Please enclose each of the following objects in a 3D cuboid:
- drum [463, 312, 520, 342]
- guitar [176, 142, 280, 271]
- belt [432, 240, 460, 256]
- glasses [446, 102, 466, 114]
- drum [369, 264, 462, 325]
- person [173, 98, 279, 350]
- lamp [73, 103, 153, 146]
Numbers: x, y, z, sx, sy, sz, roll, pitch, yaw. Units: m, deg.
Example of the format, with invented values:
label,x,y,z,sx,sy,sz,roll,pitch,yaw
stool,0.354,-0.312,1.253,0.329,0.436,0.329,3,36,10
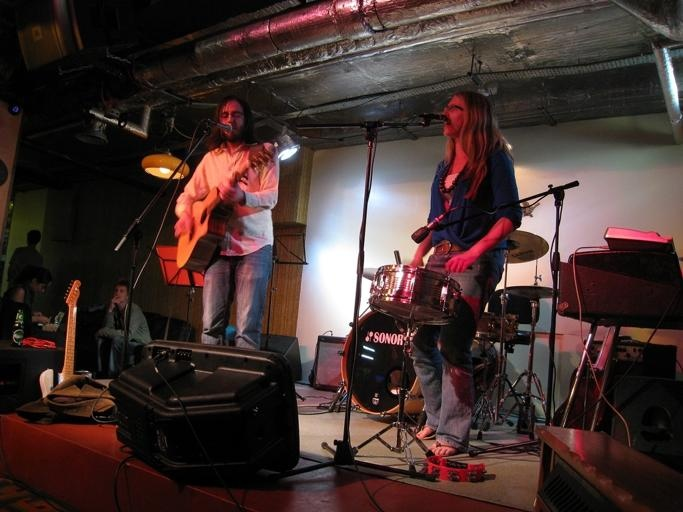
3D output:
label,x,y,z,sx,sy,sz,roll,pitch,yaw
drum,1.428,0.646,4.689,0.427,0.207,0.547,1,-5,6
guitar,-0.783,-0.301,3.530,0.218,0.534,1.050,5,-35,-38
belt,0.634,-0.049,3.181,0.103,0.035,0.098,-18,-7,39
glasses,0.716,-0.940,3.285,0.091,0.040,0.091,13,-8,-41
drum,0.408,0.228,2.949,0.473,0.388,0.393,10,11,38
person,-0.744,-0.249,3.515,0.676,1.669,0.980,0,9,-23
lamp,-2.825,-1.622,6.308,0.796,0.488,0.813,3,8,-1
